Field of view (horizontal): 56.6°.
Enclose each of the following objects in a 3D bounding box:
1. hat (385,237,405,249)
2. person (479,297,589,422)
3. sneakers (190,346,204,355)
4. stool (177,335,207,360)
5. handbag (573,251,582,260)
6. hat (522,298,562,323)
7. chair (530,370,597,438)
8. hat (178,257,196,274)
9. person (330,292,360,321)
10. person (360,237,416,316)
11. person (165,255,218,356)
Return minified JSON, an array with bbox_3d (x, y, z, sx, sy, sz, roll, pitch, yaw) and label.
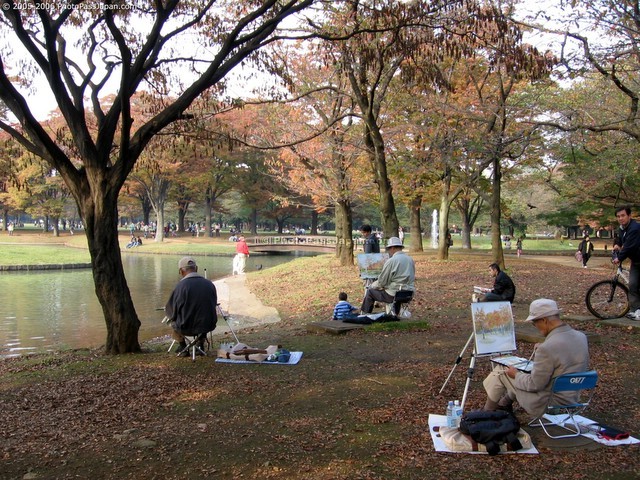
[{"bbox_3d":[1.760,0.047,13.716,0.328,0.172,0.340,0,-7,-1],"label":"hat"},{"bbox_3d":[2.920,1.586,7.887,1.229,1.586,0.426,2,10,20],"label":"person"},{"bbox_3d":[-2.357,2.122,11.434,0.236,0.276,0.261,1,-8,-18],"label":"sneakers"},{"bbox_3d":[-2.529,2.039,11.594,0.527,0.642,0.463,2,-1,29],"label":"stool"},{"bbox_3d":[14.045,0.831,31.995,0.522,0.215,0.360,-10,20,-18],"label":"handbag"},{"bbox_3d":[3.001,0.941,7.924,0.417,0.213,0.297,-8,-3,36],"label":"hat"},{"bbox_3d":[3.247,2.116,7.914,0.697,0.845,0.743,6,-1,-23],"label":"chair"},{"bbox_3d":[-2.613,0.481,11.652,0.376,0.282,0.590,9,-13,-9],"label":"hat"},{"bbox_3d":[0.646,1.663,14.506,0.802,0.869,0.643,0,4,18],"label":"person"},{"bbox_3d":[1.584,0.869,13.606,0.795,1.822,1.074,-8,12,-39],"label":"person"},{"bbox_3d":[-2.487,1.306,11.443,0.926,1.935,0.652,3,10,22],"label":"person"}]
